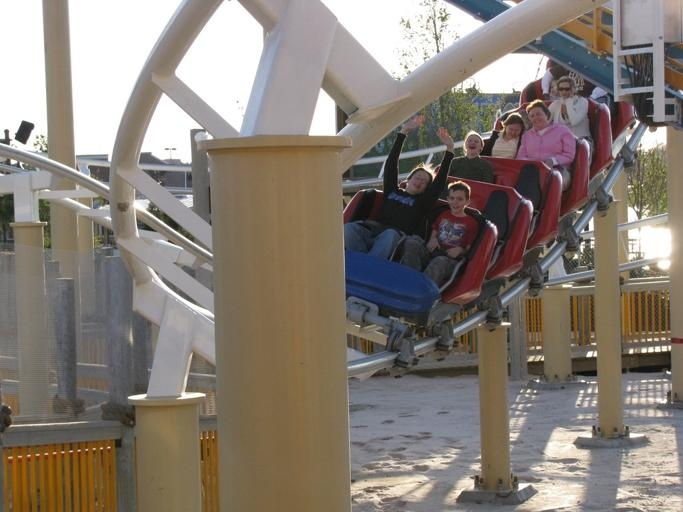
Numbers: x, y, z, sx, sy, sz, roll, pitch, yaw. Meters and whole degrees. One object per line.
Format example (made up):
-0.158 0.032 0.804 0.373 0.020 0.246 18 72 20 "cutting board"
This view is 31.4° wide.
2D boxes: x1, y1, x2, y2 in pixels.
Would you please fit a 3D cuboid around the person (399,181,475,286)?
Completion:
0.893 -0.216 11.033 0.604 0.871 0.939 0 7 18 "person"

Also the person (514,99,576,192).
2.107 -1.185 12.946 0.579 1.064 0.605 -10 -17 21 "person"
